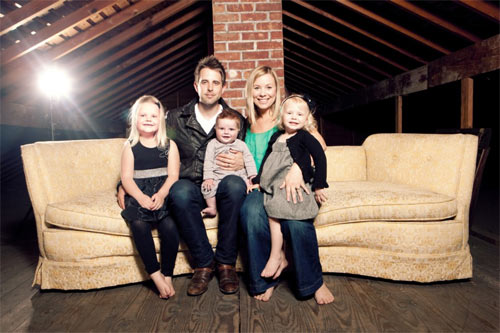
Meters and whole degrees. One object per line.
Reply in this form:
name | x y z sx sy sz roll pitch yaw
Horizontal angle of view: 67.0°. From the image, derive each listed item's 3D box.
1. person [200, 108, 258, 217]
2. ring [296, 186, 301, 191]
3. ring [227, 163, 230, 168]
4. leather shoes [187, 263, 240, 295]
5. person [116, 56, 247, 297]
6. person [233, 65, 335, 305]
person | -0.190 -0.023 2.957 0.540 0.788 0.526 -15 21 -40
ring | 0.351 0.157 2.739 0.037 0.027 0.013 0 7 -15
ring | -0.172 -0.008 2.988 0.026 0.026 0.010 1 -6 -11
leather shoes | -0.275 0.833 2.877 0.385 0.213 0.242 1 6 0
person | -0.354 0.014 2.978 0.614 1.815 0.712 0 7 -12
person | 0.244 0.071 2.947 0.669 1.751 0.779 0 7 -8
